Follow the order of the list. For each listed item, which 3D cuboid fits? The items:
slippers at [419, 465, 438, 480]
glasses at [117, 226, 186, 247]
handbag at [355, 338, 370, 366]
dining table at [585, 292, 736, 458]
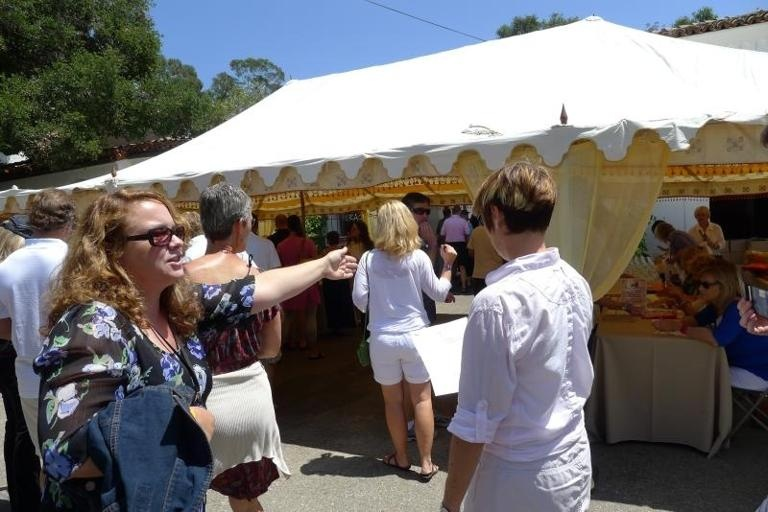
[{"bbox_3d":[0.394,1.919,5.837,0.081,0.070,0.166,-2,2,26],"label":"slippers"},{"bbox_3d":[-1.307,-0.114,3.791,0.335,0.111,0.099,-9,14,-26],"label":"glasses"},{"bbox_3d":[-0.175,0.880,5.961,0.084,0.293,0.198,6,-5,0],"label":"handbag"},{"bbox_3d":[2.674,1.220,6.702,1.332,1.107,1.441,0,8,14],"label":"dining table"}]
